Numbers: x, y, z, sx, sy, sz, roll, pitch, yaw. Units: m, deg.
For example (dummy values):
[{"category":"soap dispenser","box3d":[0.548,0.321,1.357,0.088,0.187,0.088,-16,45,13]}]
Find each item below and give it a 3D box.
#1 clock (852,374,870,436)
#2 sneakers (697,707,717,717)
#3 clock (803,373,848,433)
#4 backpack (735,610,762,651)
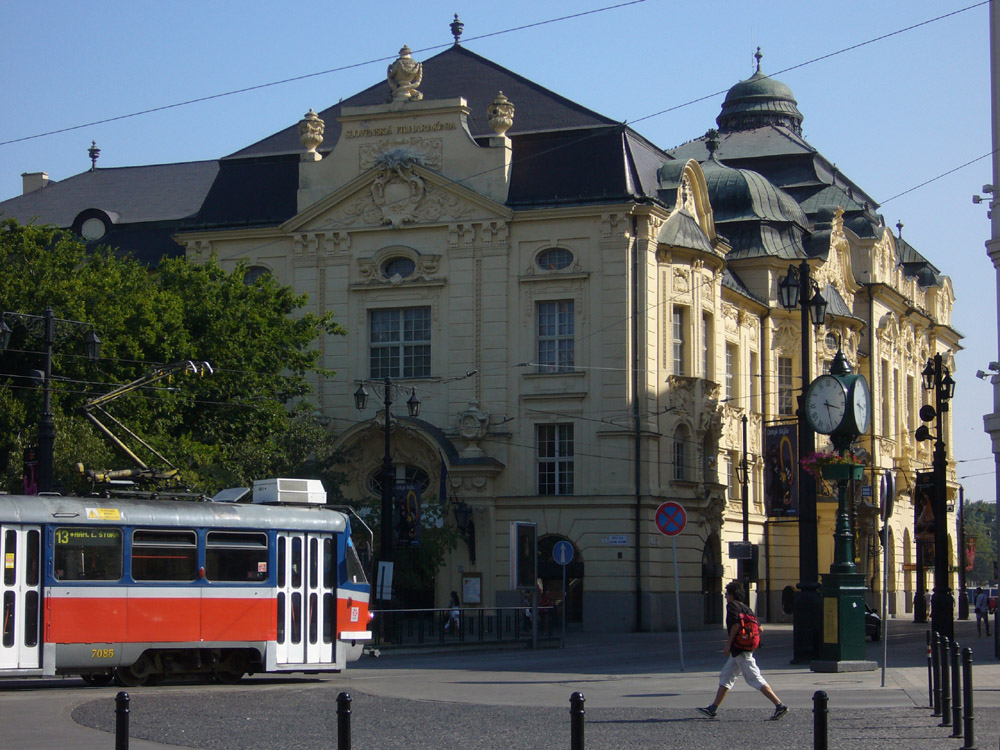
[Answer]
[{"category":"clock","box3d":[8.486,0.705,51.535,0.254,1.560,1.544,-4,-15,16]},{"category":"sneakers","box3d":[3.982,6.619,42.545,0.402,0.187,0.149,17,11,33]},{"category":"clock","box3d":[7.585,0.674,50.733,1.263,1.438,0.208,-5,-11,43]},{"category":"backpack","box3d":[4.890,5.060,42.558,0.378,0.762,0.731,-6,-12,30]}]
